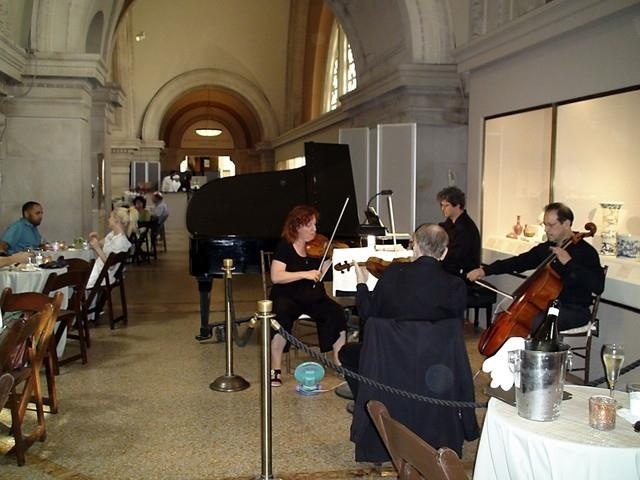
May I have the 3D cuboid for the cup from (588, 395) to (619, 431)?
[{"bbox_3d":[1.393,0.851,2.457,0.128,0.156,0.134,0,-6,0],"label":"cup"}]

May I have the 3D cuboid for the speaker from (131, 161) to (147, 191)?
[{"bbox_3d":[-7.325,-2.652,20.144,0.642,1.077,0.674,-4,8,-32],"label":"speaker"}]

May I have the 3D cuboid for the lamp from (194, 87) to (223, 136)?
[{"bbox_3d":[-6.622,-7.380,29.866,1.562,2.368,4.501,-1,7,-11],"label":"lamp"}]

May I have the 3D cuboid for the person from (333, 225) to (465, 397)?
[{"bbox_3d":[0.455,0.593,4.587,0.860,1.818,0.484,5,-7,32],"label":"person"}]

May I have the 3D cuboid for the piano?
[{"bbox_3d":[-0.470,-0.356,8.137,3.095,3.318,2.137,-2,4,-10],"label":"piano"}]

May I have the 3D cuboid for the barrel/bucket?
[{"bbox_3d":[1.088,0.673,2.540,0.350,0.427,0.306,0,-1,4],"label":"barrel/bucket"}]

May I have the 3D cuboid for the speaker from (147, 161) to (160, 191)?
[{"bbox_3d":[-6.640,-2.596,19.973,0.443,1.039,1.042,-2,7,-19],"label":"speaker"}]
